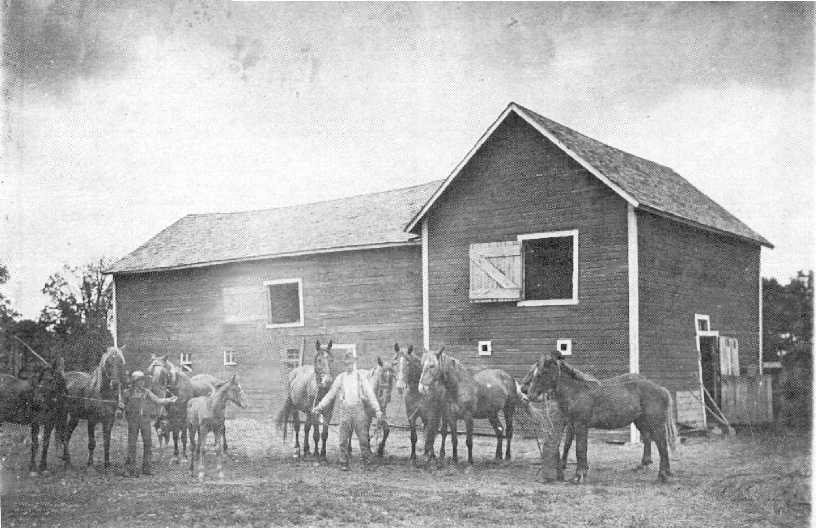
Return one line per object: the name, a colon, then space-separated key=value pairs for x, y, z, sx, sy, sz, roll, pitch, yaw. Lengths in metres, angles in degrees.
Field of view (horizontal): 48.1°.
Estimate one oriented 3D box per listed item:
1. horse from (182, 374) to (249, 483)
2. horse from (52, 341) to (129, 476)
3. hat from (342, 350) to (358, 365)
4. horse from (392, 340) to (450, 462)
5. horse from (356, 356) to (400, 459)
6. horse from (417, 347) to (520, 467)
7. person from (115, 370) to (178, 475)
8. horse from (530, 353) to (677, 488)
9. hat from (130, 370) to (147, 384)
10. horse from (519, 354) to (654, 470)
horse: x=-4.470 y=3.712 z=20.927 sx=1.167 sy=2.265 sz=1.837 roll=1 pitch=-10 yaw=-13
horse: x=-7.573 y=3.450 z=21.680 sx=0.990 sy=2.682 sz=3.987 roll=6 pitch=-13 yaw=-40
hat: x=-1.401 y=2.262 z=22.171 sx=0.263 sy=0.417 sz=0.381 roll=16 pitch=18 yaw=14
horse: x=0.320 y=3.256 z=21.632 sx=1.062 sy=2.621 sz=1.490 roll=-3 pitch=-9 yaw=9
horse: x=-0.862 y=3.588 z=23.858 sx=0.827 sy=2.257 sz=3.452 roll=1 pitch=-5 yaw=-14
horse: x=1.721 y=3.540 z=22.349 sx=1.149 sy=2.656 sz=4.147 roll=-9 pitch=-13 yaw=41
person: x=-5.994 y=3.647 z=20.969 sx=1.022 sy=2.320 sz=1.535 roll=1 pitch=-10 yaw=-15
horse: x=4.415 y=3.402 z=20.435 sx=3.927 sy=2.632 sz=1.140 roll=4 pitch=-6 yaw=-18
hat: x=-6.059 y=2.521 z=20.481 sx=0.231 sy=0.279 sz=0.299 roll=4 pitch=-11 yaw=-27
horse: x=4.312 y=3.393 z=20.478 sx=3.974 sy=2.685 sz=1.186 roll=5 pitch=-3 yaw=-18
